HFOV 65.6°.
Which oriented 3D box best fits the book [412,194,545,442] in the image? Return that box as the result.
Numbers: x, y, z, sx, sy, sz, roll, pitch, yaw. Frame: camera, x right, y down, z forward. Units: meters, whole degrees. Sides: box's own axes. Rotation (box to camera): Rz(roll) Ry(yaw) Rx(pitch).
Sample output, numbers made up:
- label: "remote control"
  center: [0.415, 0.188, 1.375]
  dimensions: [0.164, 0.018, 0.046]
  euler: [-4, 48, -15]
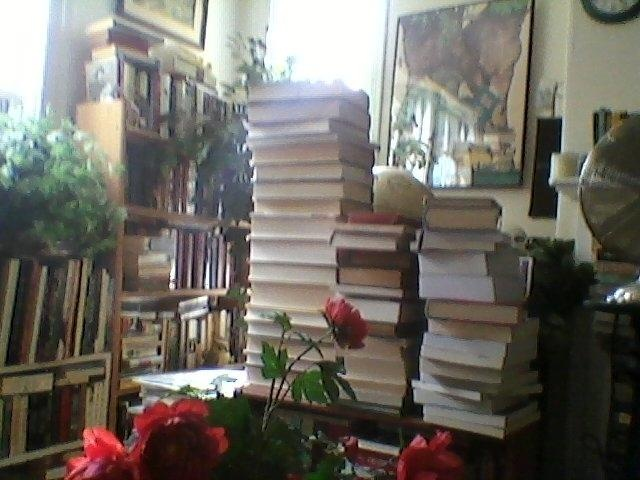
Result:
- label: "book"
  center: [0.367, 0.170, 1.143]
  dimensions: [0.306, 0.528, 0.164]
  euler: [1, -3, 4]
